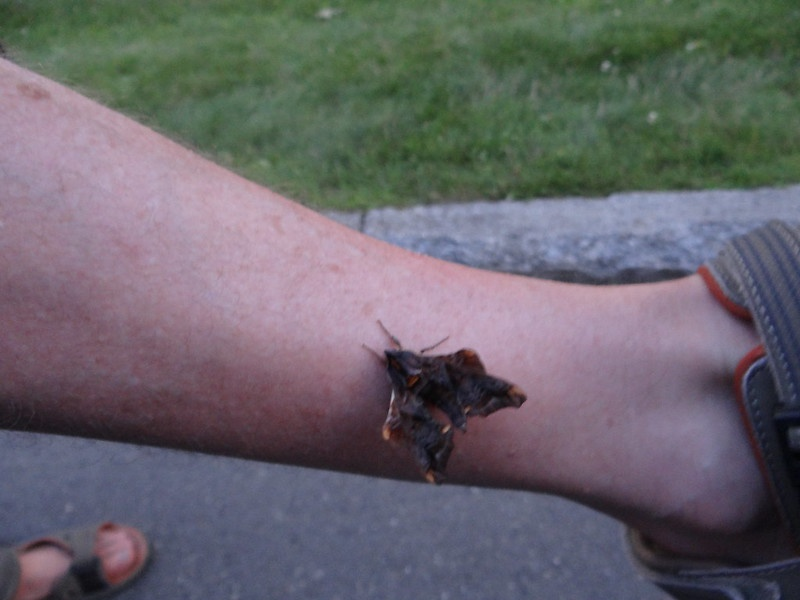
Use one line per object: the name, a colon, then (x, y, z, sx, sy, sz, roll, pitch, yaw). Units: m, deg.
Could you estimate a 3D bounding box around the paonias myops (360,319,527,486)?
paonias myops: (0.164, 0.347, 3.117, 0.416, 0.119, 0.374, 1, 70, 3)
